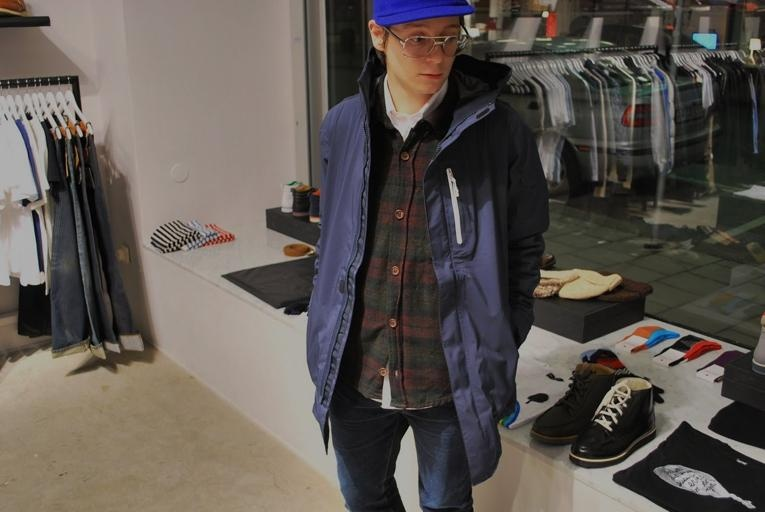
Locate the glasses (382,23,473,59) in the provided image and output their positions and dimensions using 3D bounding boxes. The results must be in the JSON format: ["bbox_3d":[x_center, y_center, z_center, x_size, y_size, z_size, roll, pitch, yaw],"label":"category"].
[{"bbox_3d":[0.108,-0.620,1.643,0.209,0.088,0.074,-1,21,8],"label":"glasses"}]

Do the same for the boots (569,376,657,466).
[{"bbox_3d":[0.864,0.609,2.140,0.433,0.246,0.165,-12,8,-35],"label":"boots"}]

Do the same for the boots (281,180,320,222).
[{"bbox_3d":[-0.557,-0.368,3.809,0.158,0.172,0.392,-9,23,-28],"label":"boots"}]
